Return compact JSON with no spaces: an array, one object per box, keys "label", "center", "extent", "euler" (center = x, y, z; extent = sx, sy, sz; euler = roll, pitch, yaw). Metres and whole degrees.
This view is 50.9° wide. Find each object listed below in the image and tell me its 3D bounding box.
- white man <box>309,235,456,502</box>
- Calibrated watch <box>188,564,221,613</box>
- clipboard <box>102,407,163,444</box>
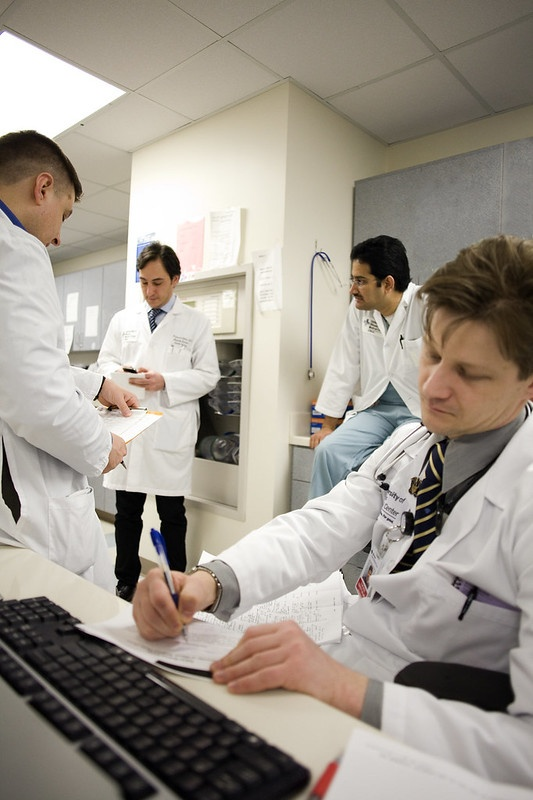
[{"label":"white man","center":[0.385,-0.181,2.382],"extent":[0.477,1.135,0.452],"euler":[0,2,-43]},{"label":"Calibrated watch","center":[-0.090,0.277,0.828],"extent":[0.022,0.060,0.053],"euler":[-16,-24,30]},{"label":"clipboard","center":[-0.350,0.035,1.460],"extent":[0.127,0.021,0.122],"euler":[7,18,37]}]
